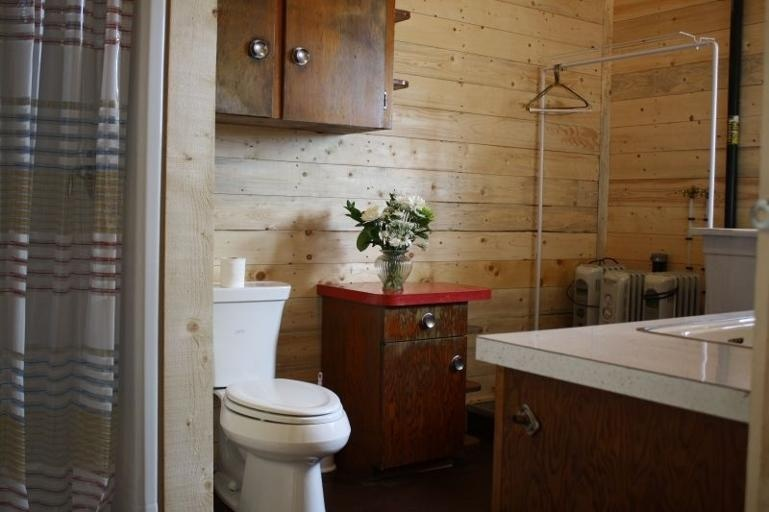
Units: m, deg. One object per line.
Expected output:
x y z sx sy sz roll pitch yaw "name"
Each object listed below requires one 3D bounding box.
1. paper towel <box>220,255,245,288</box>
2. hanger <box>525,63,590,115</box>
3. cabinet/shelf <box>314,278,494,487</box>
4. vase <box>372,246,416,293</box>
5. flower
-0.716 0.075 2.860 0.142 0.136 0.133 -1 3 -25 "paper towel"
1.108 -1.099 3.979 0.531 0.313 0.096 1 11 7 "hanger"
0.018 0.625 3.323 0.819 0.813 0.737 3 -3 -30 "cabinet/shelf"
0.037 0.067 3.204 0.213 0.198 0.197 2 7 3 "vase"
0.021 -0.077 3.206 0.528 0.470 0.478 2 -5 -19 "flower"
